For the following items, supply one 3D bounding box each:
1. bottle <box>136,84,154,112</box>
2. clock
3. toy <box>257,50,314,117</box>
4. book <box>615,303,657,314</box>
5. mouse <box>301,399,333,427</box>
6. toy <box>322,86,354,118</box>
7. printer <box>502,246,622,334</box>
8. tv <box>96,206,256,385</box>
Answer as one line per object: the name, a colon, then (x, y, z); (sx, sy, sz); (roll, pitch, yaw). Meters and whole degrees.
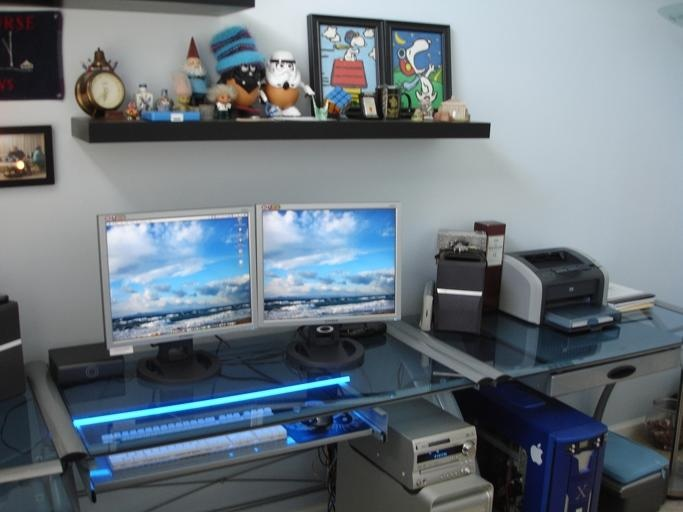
bottle: (-0.761, -0.604, 2.137); (0.059, 0.104, 0.112); (-6, 13, -9)
clock: (-0.903, -0.650, 2.082); (0.187, 0.264, 0.220); (-9, 14, -23)
toy: (-0.243, -0.728, 2.336); (0.229, 0.246, 0.142); (-11, 32, -25)
book: (1.475, 0.264, 2.849); (0.090, 0.025, 0.097); (-1, 9, -5)
mouse: (-0.085, 0.565, 2.057); (0.113, 0.088, 0.118); (-1, 7, -15)
toy: (-0.014, -0.667, 2.417); (0.126, 0.124, 0.097); (-6, 13, -9)
printer: (1.007, 0.160, 2.635); (0.385, 0.265, 0.408); (-7, 15, -23)
tv: (-0.636, 0.140, 2.133); (0.555, 0.621, 0.262); (-6, 12, -30)
